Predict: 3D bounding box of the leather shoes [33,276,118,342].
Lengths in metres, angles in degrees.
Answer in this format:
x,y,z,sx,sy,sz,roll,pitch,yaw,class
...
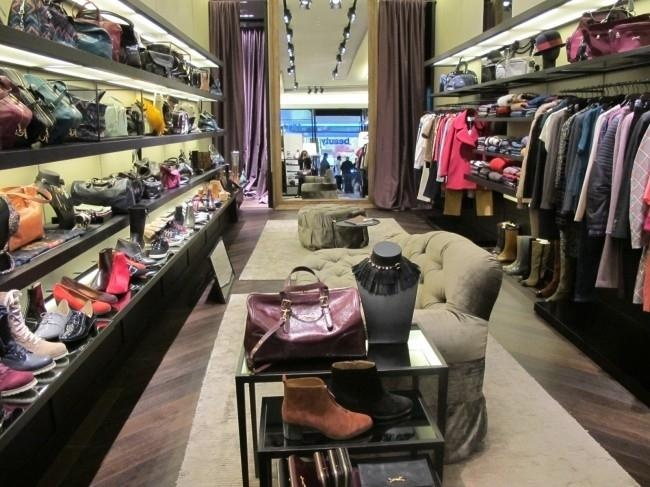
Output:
x,y,z,sx,sy,sz,roll,pitch,yaw,class
-1.199,0.300,2.197,0.161,0.212,0.499,14,2,-15,leather shoes

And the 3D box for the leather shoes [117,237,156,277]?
x,y,z,sx,sy,sz,roll,pitch,yaw,class
-1.225,0.093,2.919,0.336,0.262,0.120,4,30,35,leather shoes

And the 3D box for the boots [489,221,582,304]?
x,y,z,sx,sy,sz,roll,pitch,yaw,class
1.911,0.151,3.940,0.677,0.866,0.655,2,8,3,boots

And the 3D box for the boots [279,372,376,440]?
x,y,z,sx,sy,sz,roll,pitch,yaw,class
0.009,0.583,1.566,0.320,0.195,0.131,-2,-15,8,boots

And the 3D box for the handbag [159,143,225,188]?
x,y,z,sx,sy,sz,roll,pitch,yaw,class
-1.470,-0.862,4.817,0.301,0.270,1.066,2,17,6,handbag

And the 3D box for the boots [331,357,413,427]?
x,y,z,sx,sy,sz,roll,pitch,yaw,class
0.149,0.529,1.620,0.358,0.232,0.138,0,11,1,boots

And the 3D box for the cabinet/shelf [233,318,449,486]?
x,y,z,sx,sy,sz,roll,pitch,yaw,class
0.113,0.489,1.994,0.609,0.583,0.737,-2,10,-4,cabinet/shelf

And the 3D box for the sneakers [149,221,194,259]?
x,y,z,sx,sy,sz,roll,pitch,yaw,class
-1.220,-0.026,3.535,0.143,0.188,0.444,-2,5,1,sneakers

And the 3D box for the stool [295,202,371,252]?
x,y,z,sx,sy,sz,roll,pitch,yaw,class
0.035,-0.169,5.051,0.537,0.357,0.573,0,9,7,stool

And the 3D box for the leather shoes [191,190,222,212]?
x,y,z,sx,sy,sz,roll,pitch,yaw,class
-1.347,-0.487,5.139,0.323,0.298,0.135,-4,26,4,leather shoes

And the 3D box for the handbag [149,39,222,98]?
x,y,z,sx,sy,sz,roll,pitch,yaw,class
-1.415,-1.719,4.372,0.308,0.424,1.105,4,10,13,handbag

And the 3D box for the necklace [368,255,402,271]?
x,y,z,sx,sy,sz,roll,pitch,yaw,class
0.241,0.081,1.882,0.144,0.049,0.058,6,19,23,necklace

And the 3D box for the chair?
x,y,z,sx,sy,sz,roll,pitch,yaw,class
0.345,0.405,2.735,0.798,1.009,1.402,-12,21,-20,chair

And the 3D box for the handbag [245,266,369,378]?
x,y,z,sx,sy,sz,roll,pitch,yaw,class
-0.083,0.220,1.969,0.581,0.332,0.526,-2,52,-4,handbag

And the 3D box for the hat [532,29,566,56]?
x,y,z,sx,sy,sz,roll,pitch,yaw,class
2.014,-1.855,4.101,0.203,0.120,0.220,-28,30,18,hat
